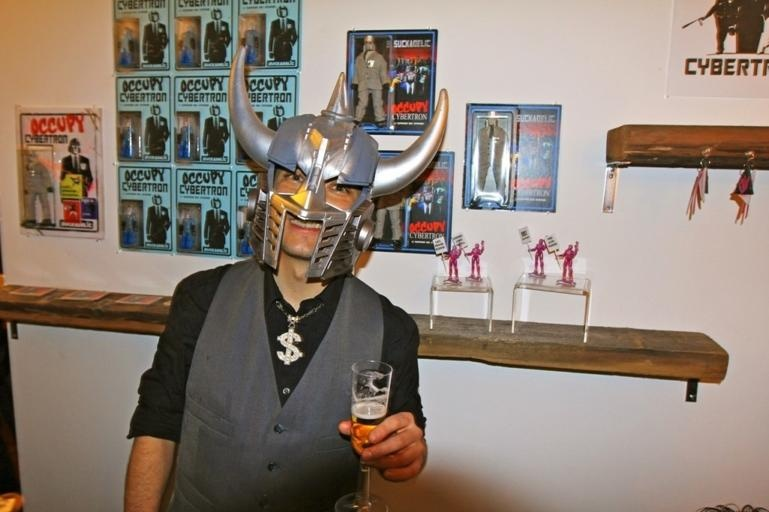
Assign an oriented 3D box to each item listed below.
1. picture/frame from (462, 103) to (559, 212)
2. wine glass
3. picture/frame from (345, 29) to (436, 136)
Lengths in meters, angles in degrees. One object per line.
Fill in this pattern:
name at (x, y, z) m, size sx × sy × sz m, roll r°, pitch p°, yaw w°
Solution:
picture/frame at (0.639, -0.514, 3.470) m, size 0.468 × 0.567 × 0.042 m, roll 1°, pitch 5°, yaw 7°
wine glass at (-0.085, 0.737, 2.844) m, size 0.221 × 0.637 × 0.258 m, roll 5°, pitch 7°, yaw 21°
picture/frame at (0.037, -0.887, 3.465) m, size 0.534 × 0.678 × 0.070 m, roll 1°, pitch 6°, yaw 5°
